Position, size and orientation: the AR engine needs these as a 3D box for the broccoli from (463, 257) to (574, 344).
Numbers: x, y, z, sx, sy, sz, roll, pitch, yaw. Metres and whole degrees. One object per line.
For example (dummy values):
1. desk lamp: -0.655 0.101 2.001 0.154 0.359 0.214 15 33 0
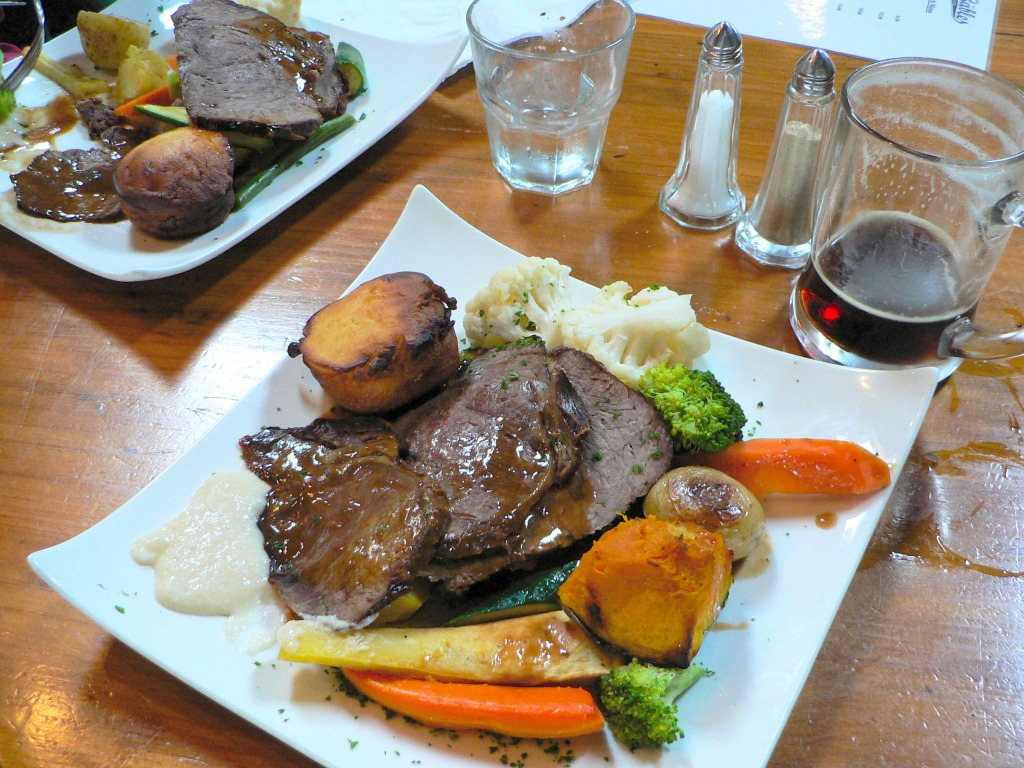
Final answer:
1. broccoli: 0.045 -0.261 2.826 0.384 0.253 0.284 -19 28 -29

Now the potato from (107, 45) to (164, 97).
1. potato: -1.437 -1.208 3.470 0.169 0.069 0.216 8 71 -6

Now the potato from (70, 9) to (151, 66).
1. potato: -1.629 -1.416 3.698 0.240 0.142 0.243 -25 94 1

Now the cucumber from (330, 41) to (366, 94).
1. cucumber: -0.641 -1.250 3.597 0.069 0.180 0.192 -17 65 25

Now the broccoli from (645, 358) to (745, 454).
1. broccoli: 0.516 0.069 2.560 0.207 0.127 0.273 -6 40 -5

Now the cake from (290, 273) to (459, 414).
1. cake: -0.404 -0.167 2.725 0.509 0.372 0.441 17 32 37

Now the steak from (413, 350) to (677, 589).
1. steak: 0.082 0.274 2.596 0.663 0.205 0.659 -16 57 -13

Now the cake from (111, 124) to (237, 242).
1. cake: -1.131 -0.666 3.166 0.406 0.379 0.300 13 35 20
